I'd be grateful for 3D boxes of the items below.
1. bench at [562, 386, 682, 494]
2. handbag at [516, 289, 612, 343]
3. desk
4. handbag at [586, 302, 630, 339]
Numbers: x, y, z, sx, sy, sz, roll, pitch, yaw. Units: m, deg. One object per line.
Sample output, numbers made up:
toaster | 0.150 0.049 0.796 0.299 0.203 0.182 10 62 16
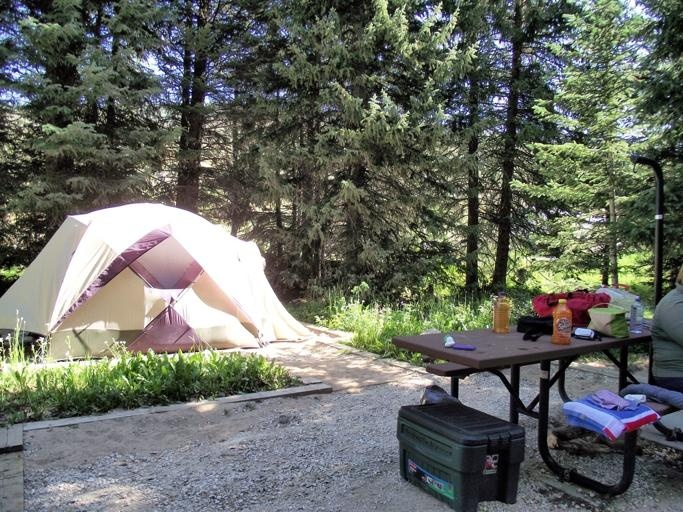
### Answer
bench | 2.709 1.586 5.194 1.328 0.811 0.945 0 -2 -37
handbag | 2.486 0.652 6.004 0.802 0.314 0.602 -3 2 -19
desk | 1.915 1.243 5.363 2.048 0.600 1.838 -3 7 -32
handbag | 2.970 0.717 5.797 0.281 0.359 0.467 -17 13 -34
